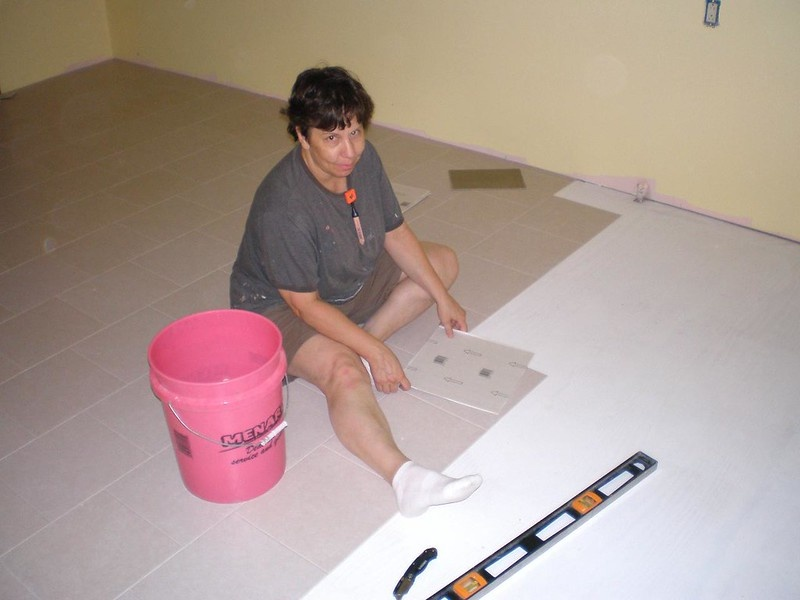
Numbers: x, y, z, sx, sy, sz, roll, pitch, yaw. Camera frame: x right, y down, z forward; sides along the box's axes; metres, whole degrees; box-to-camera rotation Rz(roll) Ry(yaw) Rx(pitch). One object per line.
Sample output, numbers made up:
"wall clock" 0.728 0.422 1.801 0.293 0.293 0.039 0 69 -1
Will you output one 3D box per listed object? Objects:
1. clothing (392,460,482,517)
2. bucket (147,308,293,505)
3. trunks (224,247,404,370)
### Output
"clothing" 0.068 0.569 1.743 0.167 0.357 0.113 52 43 -16
"bucket" -0.568 0.361 1.797 0.415 0.487 0.413 1 26 0
"trunks" -0.216 0.015 2.228 0.391 0.219 0.575 32 64 14
